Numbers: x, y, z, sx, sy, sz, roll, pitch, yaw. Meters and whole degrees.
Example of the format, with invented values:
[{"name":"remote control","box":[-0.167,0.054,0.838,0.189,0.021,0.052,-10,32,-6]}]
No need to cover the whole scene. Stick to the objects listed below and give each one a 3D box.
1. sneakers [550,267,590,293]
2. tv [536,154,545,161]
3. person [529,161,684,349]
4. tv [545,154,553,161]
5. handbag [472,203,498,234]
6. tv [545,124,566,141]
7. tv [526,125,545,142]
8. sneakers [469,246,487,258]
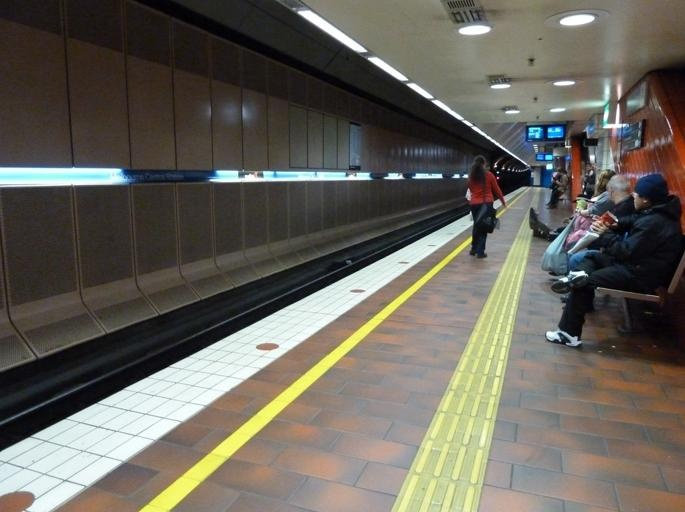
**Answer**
[{"name":"sneakers","box":[2.441,0.261,4.470,0.415,0.166,0.181,-33,30,31]},{"name":"tv","box":[16.728,-8.503,35.284,0.638,0.517,2.177,4,14,24]},{"name":"person","box":[2.698,0.044,4.069,1.202,1.641,0.456,-2,13,-1]},{"name":"tv","box":[17.023,-8.178,34.296,0.612,0.417,0.322,0,17,16]},{"name":"handbag","box":[2.720,-0.712,7.998,0.478,0.592,0.334,2,13,17]},{"name":"tv","box":[7.920,-4.632,15.486,0.598,0.559,0.448,7,15,35]},{"name":"tv","box":[7.181,-4.604,15.716,0.890,0.758,0.482,1,12,11]},{"name":"sneakers","box":[2.659,-0.034,8.280,0.139,0.287,0.396,-2,-3,-40]}]
